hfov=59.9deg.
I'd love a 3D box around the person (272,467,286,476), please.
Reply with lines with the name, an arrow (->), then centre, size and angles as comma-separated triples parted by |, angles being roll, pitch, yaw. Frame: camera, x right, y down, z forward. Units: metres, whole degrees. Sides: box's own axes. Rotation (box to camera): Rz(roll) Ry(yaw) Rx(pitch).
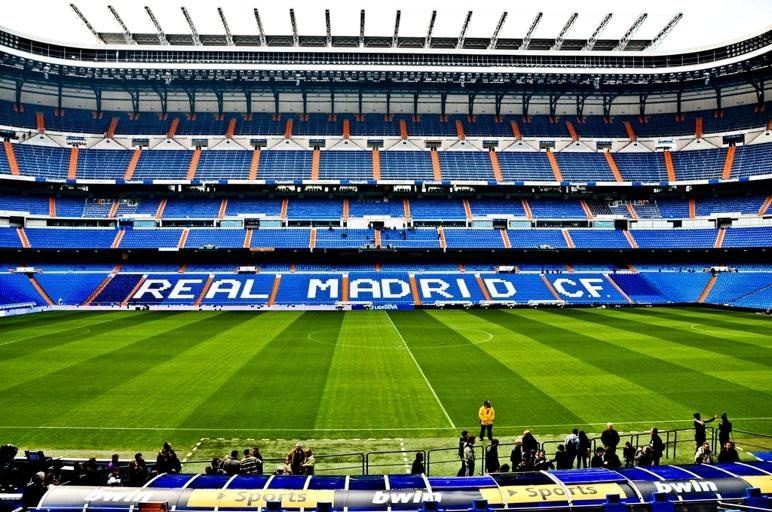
person -> -7.055, 14.578, 45.429 | 1.126, 0.851, 0.189 | 1, -86, -5
